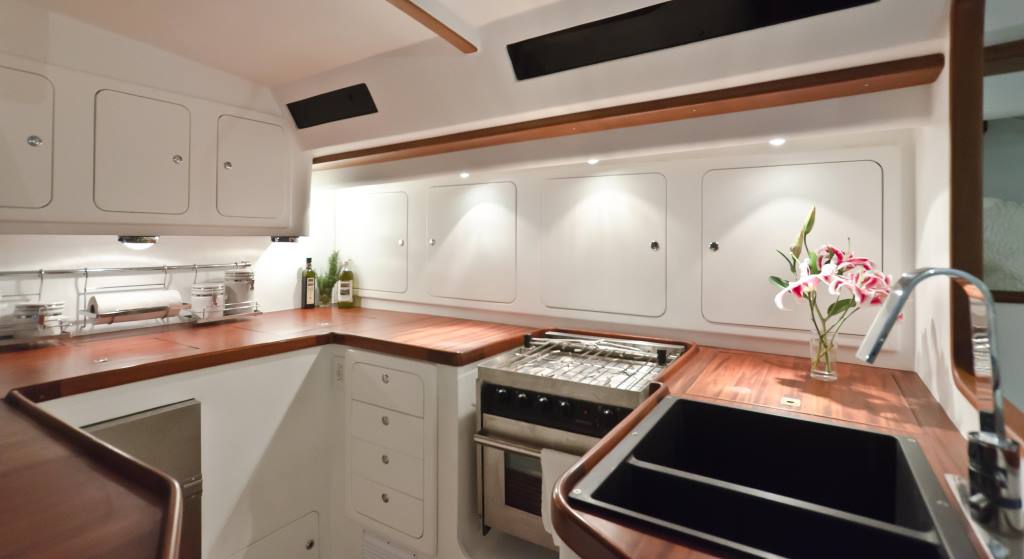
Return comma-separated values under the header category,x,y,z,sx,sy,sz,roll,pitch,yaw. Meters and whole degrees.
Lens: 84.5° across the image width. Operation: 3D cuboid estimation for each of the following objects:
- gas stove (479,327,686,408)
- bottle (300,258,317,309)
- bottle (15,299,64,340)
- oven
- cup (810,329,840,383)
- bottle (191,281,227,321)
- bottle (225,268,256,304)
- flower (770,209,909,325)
category,x,y,z,sx,sy,sz,roll,pitch,yaw
gas stove,0.452,0.516,3.419,1.114,0.186,0.993,2,8,21
bottle,-1.672,0.027,4.630,0.144,0.402,0.145,-2,6,0
bottle,-2.849,0.259,3.404,0.247,0.165,0.203,-2,-1,34
oven,0.339,1.057,3.367,0.989,1.025,0.870,3,2,26
cup,1.642,0.402,2.979,0.120,0.244,0.109,1,7,25
bottle,-2.170,0.137,4.029,0.280,0.243,0.256,8,9,42
bottle,-1.988,0.050,4.102,0.258,0.257,0.194,5,3,25
flower,1.758,0.042,3.181,0.713,0.647,0.675,-6,-27,31
